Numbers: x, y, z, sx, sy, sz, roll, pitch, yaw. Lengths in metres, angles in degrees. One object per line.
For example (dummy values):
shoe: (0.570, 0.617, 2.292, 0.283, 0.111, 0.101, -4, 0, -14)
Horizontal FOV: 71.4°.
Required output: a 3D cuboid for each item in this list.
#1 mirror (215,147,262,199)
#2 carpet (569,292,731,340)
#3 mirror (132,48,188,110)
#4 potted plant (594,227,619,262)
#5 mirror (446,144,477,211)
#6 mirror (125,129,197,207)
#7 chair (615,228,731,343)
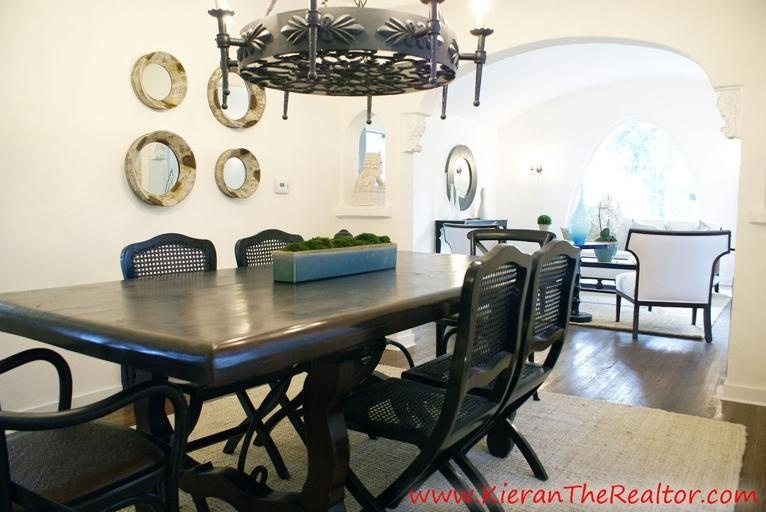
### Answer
mirror: (-1.195, -0.689, 4.417, 0.104, 0.427, 0.413, 9, 14, 37)
carpet: (3.612, 0.600, 7.067, 1.521, 0.065, 1.718, 12, 1, -9)
mirror: (-1.636, -1.333, 3.879, 0.373, 0.097, 0.376, -26, 67, -37)
potted plant: (2.633, -0.158, 6.307, 0.227, 0.364, 0.491, 5, 12, 23)
mirror: (1.206, -1.268, 8.349, 0.111, 1.234, 1.023, 0, 5, 33)
mirror: (-1.663, -0.662, 3.935, 0.508, 0.577, 0.109, -13, 9, -41)
chair: (2.934, 0.167, 5.449, 0.934, 1.225, 1.088, 0, 18, 19)
